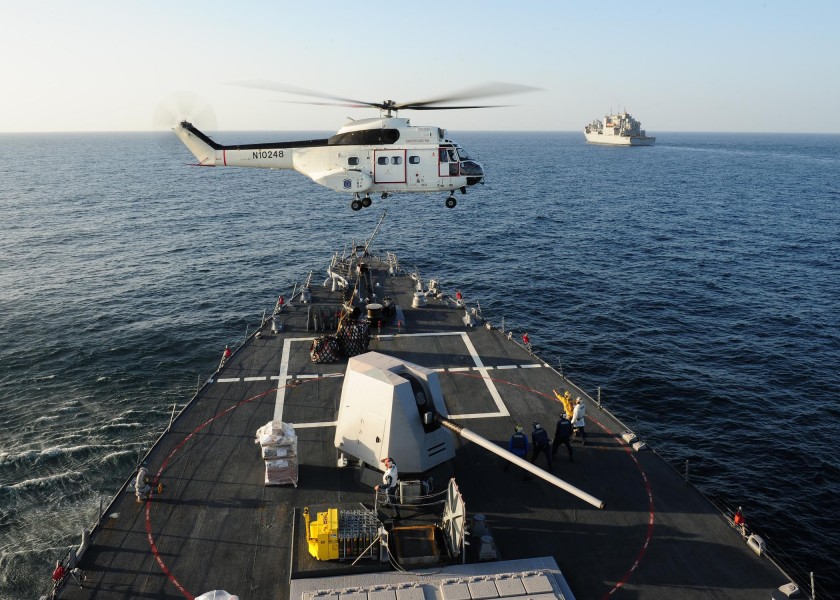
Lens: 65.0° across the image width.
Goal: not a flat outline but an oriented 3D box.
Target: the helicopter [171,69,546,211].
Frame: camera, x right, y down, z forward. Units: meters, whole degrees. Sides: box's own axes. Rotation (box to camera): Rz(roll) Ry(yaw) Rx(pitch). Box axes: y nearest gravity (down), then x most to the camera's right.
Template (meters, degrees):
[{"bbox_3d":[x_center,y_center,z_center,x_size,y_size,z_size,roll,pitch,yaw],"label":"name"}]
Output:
[{"bbox_3d":[-5.619,-9.369,43.197,20.988,5.637,14.765,1,15,2],"label":"helicopter"}]

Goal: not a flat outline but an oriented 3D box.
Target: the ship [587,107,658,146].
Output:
[{"bbox_3d":[80.521,-67.910,266.364,18.619,14.615,48.566,-1,18,-2],"label":"ship"}]
